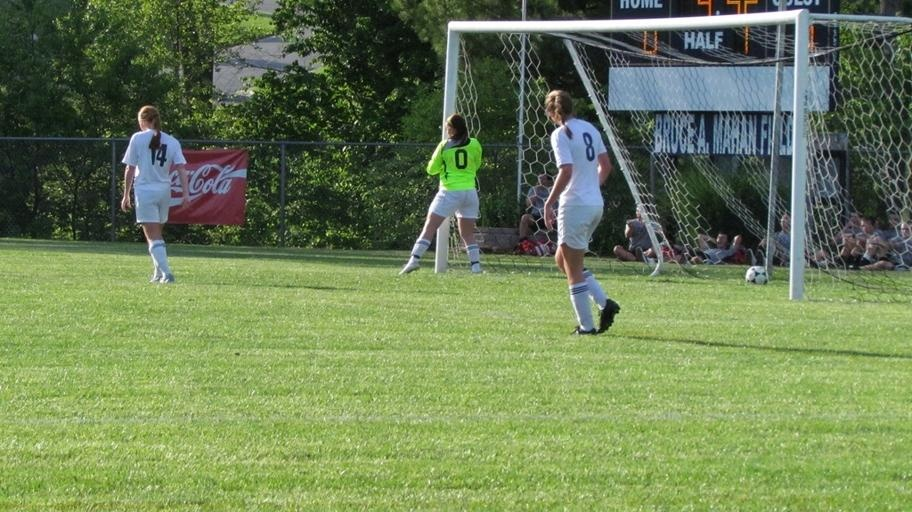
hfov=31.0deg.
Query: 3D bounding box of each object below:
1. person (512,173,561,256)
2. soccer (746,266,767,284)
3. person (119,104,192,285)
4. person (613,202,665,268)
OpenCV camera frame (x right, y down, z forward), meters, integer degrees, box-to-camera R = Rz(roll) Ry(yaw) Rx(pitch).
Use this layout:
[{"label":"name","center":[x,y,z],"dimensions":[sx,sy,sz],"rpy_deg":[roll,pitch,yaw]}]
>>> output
[{"label":"person","center":[2.029,-1.057,42.353],"dimensions":[1.079,2.033,0.990],"rpy_deg":[1,1,36]},{"label":"soccer","center":[6.876,0.422,37.526],"dimensions":[0.488,0.390,0.573],"rpy_deg":[1,2,9]},{"label":"person","center":[-6.488,-1.350,35.190],"dimensions":[1.102,3.803,1.059],"rpy_deg":[2,3,44]},{"label":"person","center":[4.477,-0.509,41.617],"dimensions":[0.921,1.512,0.825],"rpy_deg":[2,0,-29]}]
